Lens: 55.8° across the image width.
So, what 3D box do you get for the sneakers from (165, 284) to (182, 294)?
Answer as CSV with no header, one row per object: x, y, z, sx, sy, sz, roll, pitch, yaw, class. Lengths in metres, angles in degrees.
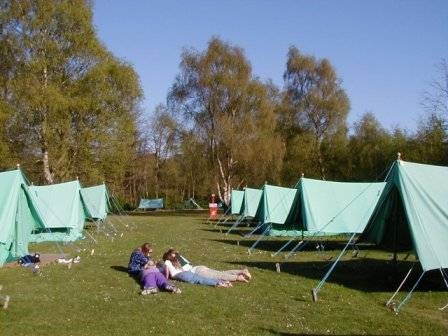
-1.502,3.572,12.717,0.547,0.222,0.270,21,-6,14,sneakers

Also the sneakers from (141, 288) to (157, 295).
-2.211,3.638,12.567,0.468,0.264,0.177,2,-9,-9,sneakers
